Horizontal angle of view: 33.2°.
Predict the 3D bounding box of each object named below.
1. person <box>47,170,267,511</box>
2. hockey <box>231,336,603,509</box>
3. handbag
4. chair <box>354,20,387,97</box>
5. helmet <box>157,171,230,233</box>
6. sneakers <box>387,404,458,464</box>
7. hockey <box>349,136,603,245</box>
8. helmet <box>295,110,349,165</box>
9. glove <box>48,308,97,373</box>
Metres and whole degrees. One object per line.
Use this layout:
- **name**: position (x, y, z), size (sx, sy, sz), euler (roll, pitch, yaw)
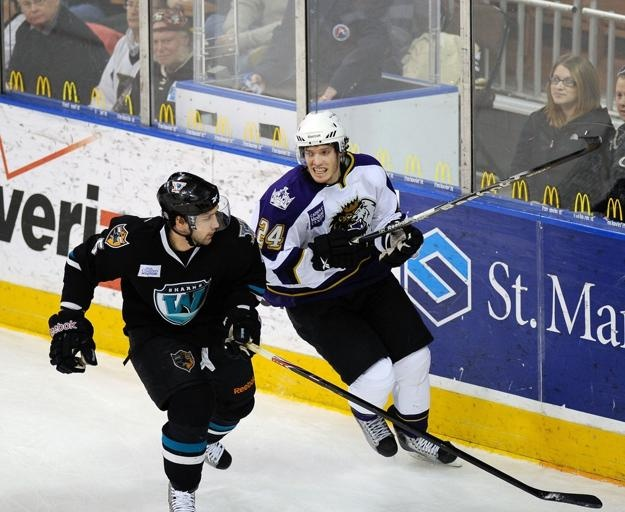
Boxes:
- **person**: position (-0.624, 0.338, 4.322), size (0.888, 1.370, 0.439), euler (6, 7, -11)
- **hockey**: position (0.541, 0.780, 4.790), size (1.964, 0.354, 0.151), euler (15, 49, 27)
- **handbag**: position (0.581, -0.941, 5.012), size (0.301, 0.256, 0.082), euler (14, 16, 29)
- **chair**: position (0.323, -1.007, 5.196), size (0.146, 0.394, 0.140), euler (-4, -11, 20)
- **helmet**: position (-0.485, -0.191, 4.234), size (0.295, 0.244, 0.213), euler (12, 25, 17)
- **sneakers**: position (0.504, 0.854, 4.837), size (0.351, 0.101, 0.154), euler (15, -30, 43)
- **hockey**: position (0.793, -0.288, 4.817), size (1.135, 0.122, 0.034), euler (-29, -10, 21)
- **helmet**: position (0.037, -0.491, 4.524), size (0.231, 0.233, 0.255), euler (-3, 17, 17)
- **glove**: position (-0.978, 0.340, 4.210), size (0.223, 0.253, 0.114), euler (1, -14, -5)
